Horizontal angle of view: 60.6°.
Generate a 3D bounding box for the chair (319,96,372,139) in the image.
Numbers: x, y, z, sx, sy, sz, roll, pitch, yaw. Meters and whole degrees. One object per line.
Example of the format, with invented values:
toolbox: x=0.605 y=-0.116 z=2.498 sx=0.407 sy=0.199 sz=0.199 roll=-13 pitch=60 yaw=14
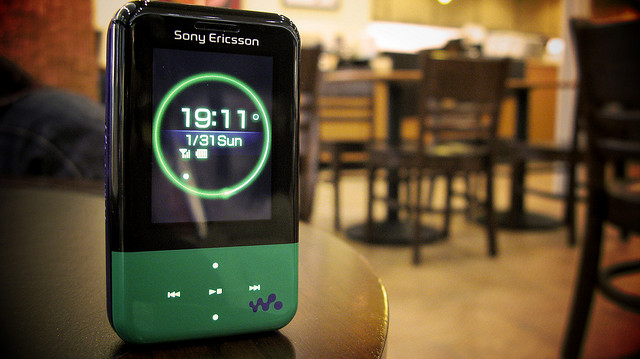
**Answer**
chair: x=0.076 y=-0.219 z=1.813 sx=0.154 sy=0.188 sz=0.286 roll=-2 pitch=4 yaw=1
